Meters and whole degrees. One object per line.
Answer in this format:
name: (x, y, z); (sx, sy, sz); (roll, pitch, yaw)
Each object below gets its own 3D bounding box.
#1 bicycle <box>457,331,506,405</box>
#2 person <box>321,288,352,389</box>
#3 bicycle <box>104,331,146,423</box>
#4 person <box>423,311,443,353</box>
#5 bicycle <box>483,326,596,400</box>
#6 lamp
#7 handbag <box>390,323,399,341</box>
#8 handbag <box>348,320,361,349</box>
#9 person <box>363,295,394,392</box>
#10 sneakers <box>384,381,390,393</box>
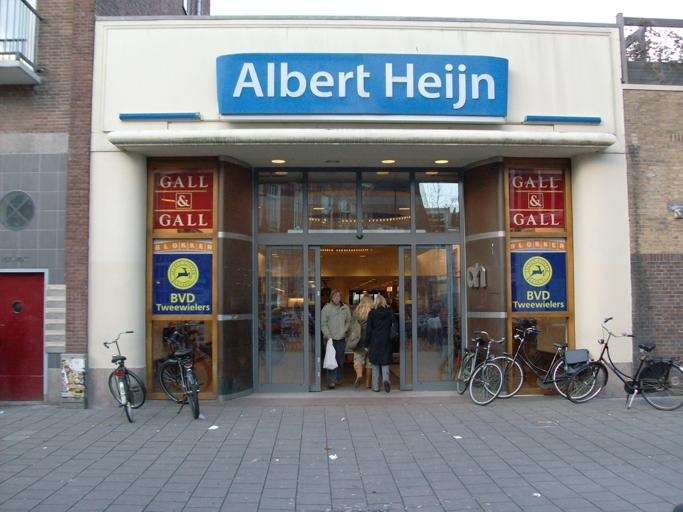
bicycle: (2.634, 2.115, 13.128); (0.756, 1.220, 1.081); (-1, 10, -4)
person: (-0.152, 1.716, 14.296); (0.438, 1.930, 0.714); (7, 12, 33)
bicycle: (-3.874, 2.170, 12.399); (0.646, 1.349, 1.376); (-4, 11, -20)
person: (1.860, 1.519, 13.969); (0.338, 0.773, 0.216); (1, 10, 4)
bicycle: (3.922, 2.049, 13.483); (2.122, 1.276, 1.036); (4, -9, 2)
lamp: (0.352, -1.035, 14.147); (2.054, 0.953, 0.333); (0, 10, -1)
handbag: (1.021, 1.507, 13.685); (0.127, 0.318, 0.299); (-8, -16, 23)
handbag: (0.247, 1.642, 14.287); (0.200, 0.505, 0.361); (12, -8, -8)
person: (0.760, 1.841, 13.866); (0.579, 1.810, 0.799); (1, 10, 5)
sneakers: (0.889, 2.577, 13.647); (0.089, 0.241, 0.104); (-4, 4, 11)
